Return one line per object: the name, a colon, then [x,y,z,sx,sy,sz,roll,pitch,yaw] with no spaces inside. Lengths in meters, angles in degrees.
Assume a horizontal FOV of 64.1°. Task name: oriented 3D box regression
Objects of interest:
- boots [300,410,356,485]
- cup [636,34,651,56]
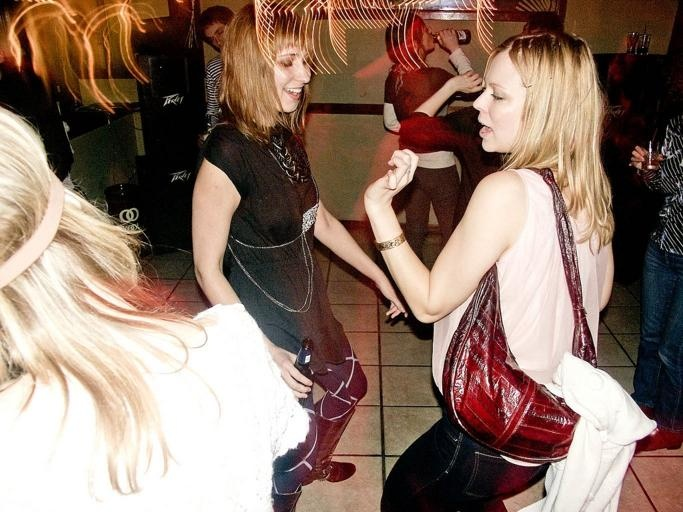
boots: [-0.035,0.855,2.477,0.309,0.381,0.153,3,28,-22]
cup: [2.191,-1.548,3.965,0.066,0.131,0.230,9,30,27]
